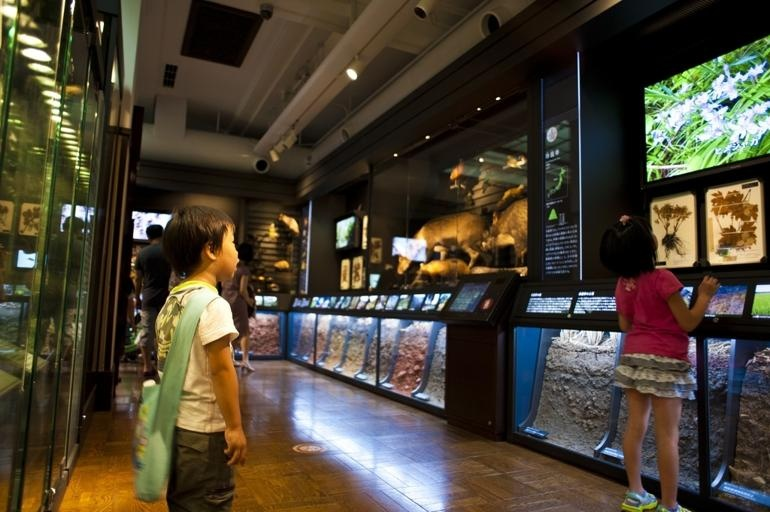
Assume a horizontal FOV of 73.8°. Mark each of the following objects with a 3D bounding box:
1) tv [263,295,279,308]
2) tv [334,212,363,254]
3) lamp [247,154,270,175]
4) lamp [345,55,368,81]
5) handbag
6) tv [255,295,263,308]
[{"bbox_3d":[-1.993,0.816,9.093,0.215,0.159,0.029,8,-28,-22],"label":"tv"},{"bbox_3d":[-0.648,-0.427,9.149,0.216,0.635,0.712,7,-12,-35],"label":"tv"},{"bbox_3d":[-2.144,-1.618,9.013,0.338,0.281,0.241,2,-3,-15],"label":"lamp"},{"bbox_3d":[-0.323,-2.054,5.655,0.181,0.164,0.411,2,-2,-11],"label":"lamp"},{"bbox_3d":[-0.950,0.772,2.147,0.152,0.484,0.173,3,-3,-33],"label":"handbag"},{"bbox_3d":[-2.151,0.799,9.014,0.147,0.223,0.121,2,-3,-19],"label":"tv"}]
